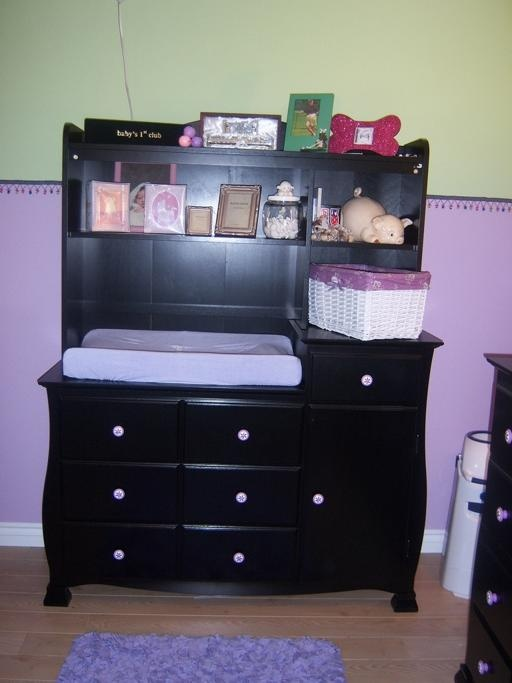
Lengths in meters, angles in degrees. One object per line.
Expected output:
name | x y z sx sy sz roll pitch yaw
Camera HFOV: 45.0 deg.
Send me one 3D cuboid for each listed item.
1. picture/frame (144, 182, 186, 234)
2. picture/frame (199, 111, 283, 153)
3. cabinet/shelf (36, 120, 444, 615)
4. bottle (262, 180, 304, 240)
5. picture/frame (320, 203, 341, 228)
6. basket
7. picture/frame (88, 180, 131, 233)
picture/frame | -0.309 -0.447 2.102 0.178 0.213 0.016 0 -5 -3
picture/frame | -0.053 -0.694 2.065 0.278 0.146 0.066 1 4 -3
cabinet/shelf | -0.050 0.102 2.234 1.308 1.650 0.515 3 10 -1
bottle | 0.102 -0.449 2.160 0.126 0.193 0.127 0 10 0
picture/frame | 0.275 -0.448 2.233 0.090 0.085 0.021 1 5 -11
basket | 0.362 -0.152 2.089 0.255 0.198 0.360 -2 9 -16
picture/frame | -0.500 -0.452 2.102 0.165 0.236 0.165 -2 8 -12
